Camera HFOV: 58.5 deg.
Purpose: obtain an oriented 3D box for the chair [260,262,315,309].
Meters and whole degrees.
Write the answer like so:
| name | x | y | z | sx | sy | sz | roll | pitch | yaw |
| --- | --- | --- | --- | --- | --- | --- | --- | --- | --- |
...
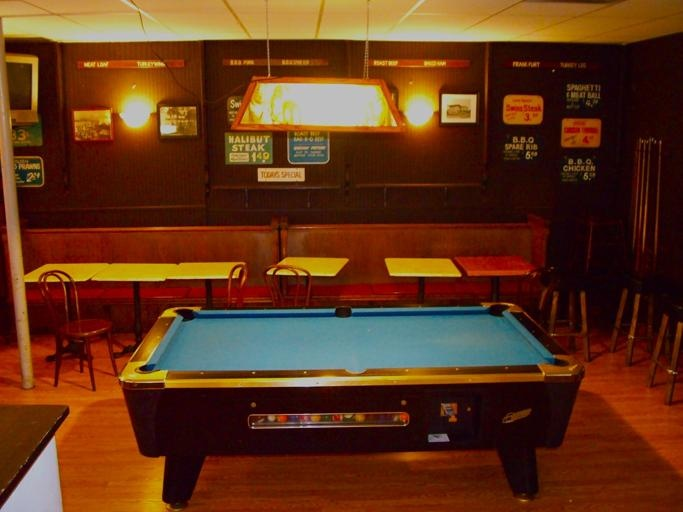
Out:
| name | x | y | z | sx | sy | sz | roll | pitch | yaw |
| --- | --- | --- | --- | --- | --- | --- | --- | --- | --- |
| chair | -0.600 | 0.310 | 6.730 | 0.495 | 0.786 | 0.533 | 1 | 34 | 1 |

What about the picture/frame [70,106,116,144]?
| name | x | y | z | sx | sy | sz | roll | pitch | yaw |
| --- | --- | --- | --- | --- | --- | --- | --- | --- | --- |
| picture/frame | -3.087 | -1.657 | 7.531 | 0.436 | 0.378 | 0.062 | 0 | 6 | -2 |

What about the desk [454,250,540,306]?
| name | x | y | z | sx | sy | sz | roll | pitch | yaw |
| --- | --- | --- | --- | --- | --- | --- | --- | --- | --- |
| desk | 1.670 | 0.121 | 6.627 | 0.618 | 0.622 | 0.626 | -2 | 14 | -1 |

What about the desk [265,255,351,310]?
| name | x | y | z | sx | sy | sz | roll | pitch | yaw |
| --- | --- | --- | --- | --- | --- | --- | --- | --- | --- |
| desk | -0.392 | 0.231 | 6.681 | 0.840 | 0.870 | 0.579 | 1 | 33 | 4 |

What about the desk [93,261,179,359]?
| name | x | y | z | sx | sy | sz | roll | pitch | yaw |
| --- | --- | --- | --- | --- | --- | --- | --- | --- | --- |
| desk | -2.142 | 0.484 | 6.655 | 1.057 | 1.105 | 0.936 | 0 | 12 | -2 |

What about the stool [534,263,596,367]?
| name | x | y | z | sx | sy | sz | roll | pitch | yaw |
| --- | --- | --- | --- | --- | --- | --- | --- | --- | --- |
| stool | 2.462 | 0.604 | 6.738 | 0.692 | 1.083 | 0.732 | 2 | 7 | 12 |

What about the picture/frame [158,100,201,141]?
| name | x | y | z | sx | sy | sz | roll | pitch | yaw |
| --- | --- | --- | --- | --- | --- | --- | --- | --- | --- |
| picture/frame | -2.024 | -1.720 | 7.558 | 0.446 | 0.388 | 0.065 | 0 | 3 | 0 |

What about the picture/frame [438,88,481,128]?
| name | x | y | z | sx | sy | sz | roll | pitch | yaw |
| --- | --- | --- | --- | --- | --- | --- | --- | --- | --- |
| picture/frame | 1.466 | -1.903 | 7.662 | 0.459 | 0.411 | 0.047 | 0 | 5 | -4 |

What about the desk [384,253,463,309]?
| name | x | y | z | sx | sy | sz | roll | pitch | yaw |
| --- | --- | --- | --- | --- | --- | --- | --- | --- | --- |
| desk | 0.857 | 0.259 | 6.623 | 0.578 | 0.605 | 0.614 | 1 | 16 | 0 |

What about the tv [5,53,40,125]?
| name | x | y | z | sx | sy | sz | roll | pitch | yaw |
| --- | --- | --- | --- | --- | --- | --- | --- | --- | --- |
| tv | -3.824 | -2.016 | 7.321 | 0.319 | 0.794 | 0.101 | -2 | 14 | -15 |
